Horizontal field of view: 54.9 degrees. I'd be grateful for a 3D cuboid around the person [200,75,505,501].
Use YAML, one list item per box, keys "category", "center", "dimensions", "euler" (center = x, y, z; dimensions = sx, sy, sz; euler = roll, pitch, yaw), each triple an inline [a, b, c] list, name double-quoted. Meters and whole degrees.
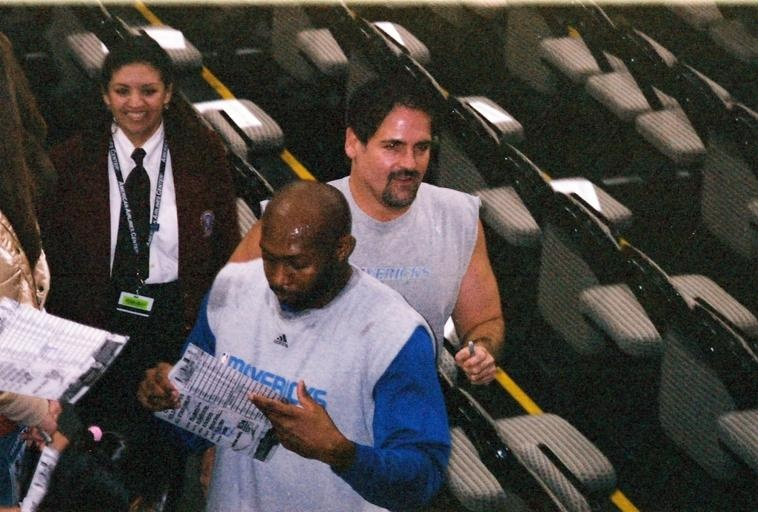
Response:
- category: "person"
  center: [-0.026, 0.094, 2.840]
  dimensions: [1.115, 1.481, 0.815]
  euler: [1, 20, -11]
